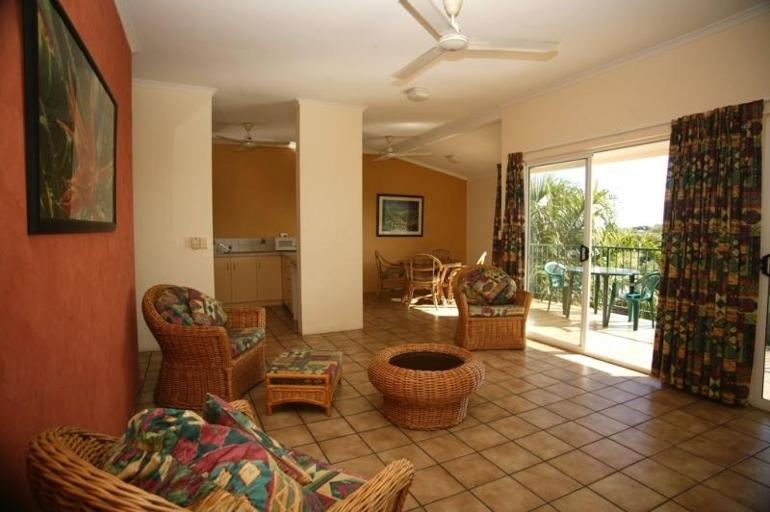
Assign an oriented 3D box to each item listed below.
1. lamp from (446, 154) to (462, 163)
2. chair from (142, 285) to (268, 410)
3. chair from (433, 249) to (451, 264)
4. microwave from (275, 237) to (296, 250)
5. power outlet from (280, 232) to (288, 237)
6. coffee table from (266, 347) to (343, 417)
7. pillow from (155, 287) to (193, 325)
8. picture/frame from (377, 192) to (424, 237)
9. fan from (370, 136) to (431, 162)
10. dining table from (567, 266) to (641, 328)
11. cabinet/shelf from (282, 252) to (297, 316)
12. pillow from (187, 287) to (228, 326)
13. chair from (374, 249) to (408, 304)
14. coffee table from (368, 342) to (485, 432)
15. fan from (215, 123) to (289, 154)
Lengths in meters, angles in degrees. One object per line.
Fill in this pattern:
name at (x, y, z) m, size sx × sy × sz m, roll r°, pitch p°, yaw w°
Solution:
lamp at (1.231, -1.773, 9.208) m, size 0.243 × 0.139 × 0.423 m, roll 1°, pitch 2°, yaw 6°
chair at (-1.629, 0.790, 4.655) m, size 0.895 × 1.030 × 0.828 m, roll 1°, pitch 3°, yaw 3°
chair at (1.185, -0.002, 10.183) m, size 0.319 × 0.181 × 0.307 m, roll 1°, pitch 3°, yaw 0°
microwave at (-1.624, -0.212, 8.313) m, size 0.308 × 0.225 × 0.472 m, roll 0°, pitch 2°, yaw -15°
power outlet at (-1.727, -0.376, 8.746) m, size 0.125 × 0.081 × 0.120 m, roll 0°, pitch 6°, yaw -15°
coffee table at (-0.702, 1.055, 4.436) m, size 0.468 × 0.269 × 0.570 m, roll 0°, pitch -1°, yaw 0°
pillow at (-1.811, 0.441, 4.415) m, size 0.088 × 0.316 × 0.300 m, roll -41°, pitch -12°, yaw 30°
picture/frame at (0.266, -0.844, 10.015) m, size 0.969 × 0.769 × 0.090 m, roll 0°, pitch 1°, yaw -29°
fan at (0.245, -1.815, 8.916) m, size 0.691 × 0.250 × 0.798 m, roll 3°, pitch 10°, yaw 30°
dining table at (2.953, 0.409, 6.914) m, size 1.108 × 0.789 × 1.132 m, roll 0°, pitch 2°, yaw 17°
cabinet/shelf at (-1.417, 0.388, 7.584) m, size 0.405 × 0.833 × 0.926 m, roll -1°, pitch 4°, yaw -12°
pillow at (-1.617, 0.450, 4.605) m, size 0.151 × 0.290 × 0.491 m, roll -23°, pitch -11°, yaw 6°
chair at (0.098, 0.364, 9.560) m, size 0.860 × 1.160 × 0.814 m, roll -1°, pitch 4°, yaw 6°
coffee table at (0.346, 1.102, 4.314) m, size 0.934 × 0.560 × 0.698 m, roll 1°, pitch 2°, yaw 8°
fan at (-2.008, -1.772, 7.681) m, size 0.757 × 0.196 × 0.777 m, roll 3°, pitch 5°, yaw 17°
